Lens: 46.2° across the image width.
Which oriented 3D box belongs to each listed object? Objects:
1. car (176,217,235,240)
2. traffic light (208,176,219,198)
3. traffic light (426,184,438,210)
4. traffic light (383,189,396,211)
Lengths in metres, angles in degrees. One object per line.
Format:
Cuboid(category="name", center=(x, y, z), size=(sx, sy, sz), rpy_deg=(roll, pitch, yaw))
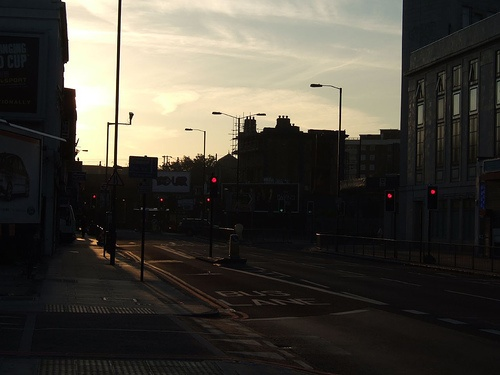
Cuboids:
Cuboid(category="car", center=(-5.362, 4.563, 65.409), size=(7.417, 2.649, 2.536), rpy_deg=(-5, -4, 45))
Cuboid(category="traffic light", center=(-2.078, -0.031, 33.392), size=(0.486, 1.282, 1.838), rpy_deg=(1, -2, -4))
Cuboid(category="traffic light", center=(10.716, 0.620, 34.542), size=(0.451, 1.401, 1.177), rpy_deg=(0, -2, 27))
Cuboid(category="traffic light", center=(9.328, 0.874, 39.249), size=(0.568, 1.382, 0.941), rpy_deg=(0, -2, 10))
